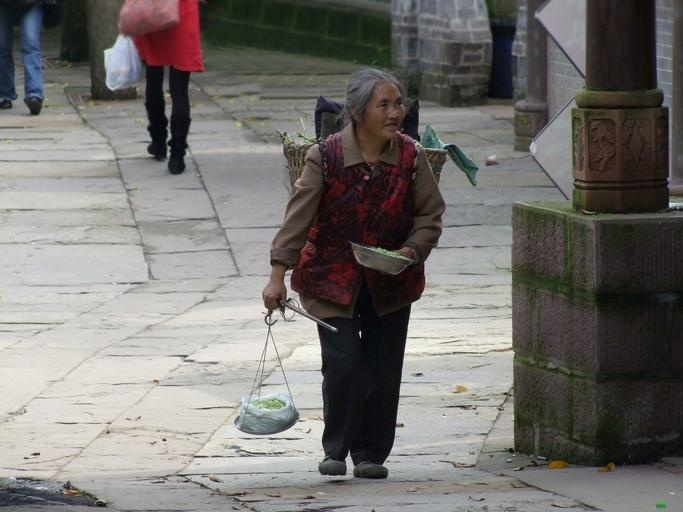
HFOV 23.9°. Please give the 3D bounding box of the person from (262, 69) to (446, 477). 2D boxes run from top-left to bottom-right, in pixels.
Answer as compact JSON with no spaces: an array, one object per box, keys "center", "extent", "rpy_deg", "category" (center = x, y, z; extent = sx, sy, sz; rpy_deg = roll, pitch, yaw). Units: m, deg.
[{"center":[0.090,0.091,8.943],"extent":[0.805,2.196,0.528],"rpy_deg":[-12,17,-43],"category":"person"}]
